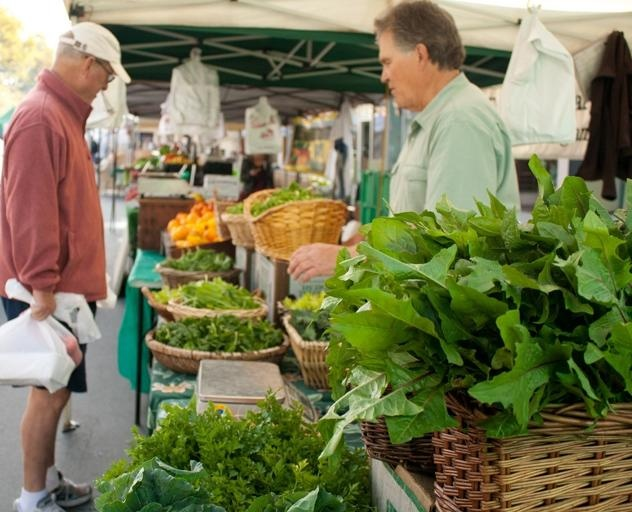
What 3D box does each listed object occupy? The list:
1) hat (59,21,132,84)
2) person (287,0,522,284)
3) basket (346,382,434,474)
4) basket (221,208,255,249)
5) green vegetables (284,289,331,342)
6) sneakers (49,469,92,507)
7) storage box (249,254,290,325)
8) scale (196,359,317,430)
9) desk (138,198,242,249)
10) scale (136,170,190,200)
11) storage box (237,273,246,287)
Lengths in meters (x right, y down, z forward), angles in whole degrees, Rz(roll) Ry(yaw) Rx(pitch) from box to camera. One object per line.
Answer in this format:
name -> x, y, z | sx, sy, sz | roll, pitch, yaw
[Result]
hat -> -1.087, -0.994, 3.002 | 0.357, 0.184, 0.247 | 12, -14, -18
person -> 0.292, -0.428, 2.754 | 0.952, 1.585, 1.061 | 2, 6, 9
basket -> 0.173, 0.392, 1.318 | 0.138, 0.065, 0.115 | 19, 8, 31
basket -> -0.527, -0.177, 4.063 | 0.263, 0.195, 0.258 | -5, -3, -30
green vegetables -> -0.027, 0.251, 2.684 | 0.241, 0.119, 0.270 | 0, 16, -8
sneakers -> -1.349, 1.274, 3.297 | 0.105, 0.147, 0.324 | 6, -1, 23
storage box -> -0.259, 0.141, 3.545 | 0.116, 0.305, 0.325 | -5, 14, -24
scale -> -0.244, 0.439, 2.041 | 0.279, 0.089, 0.374 | 1, 1, -7
desk -> -1.405, -0.392, 5.984 | 0.681, 0.440, 0.686 | -3, 9, -13
scale -> -1.635, -0.751, 6.303 | 0.586, 0.264, 0.469 | 3, 0, -31
storage box -> -0.524, 0.164, 4.264 | 0.088, 0.116, 0.087 | 0, -6, -5
